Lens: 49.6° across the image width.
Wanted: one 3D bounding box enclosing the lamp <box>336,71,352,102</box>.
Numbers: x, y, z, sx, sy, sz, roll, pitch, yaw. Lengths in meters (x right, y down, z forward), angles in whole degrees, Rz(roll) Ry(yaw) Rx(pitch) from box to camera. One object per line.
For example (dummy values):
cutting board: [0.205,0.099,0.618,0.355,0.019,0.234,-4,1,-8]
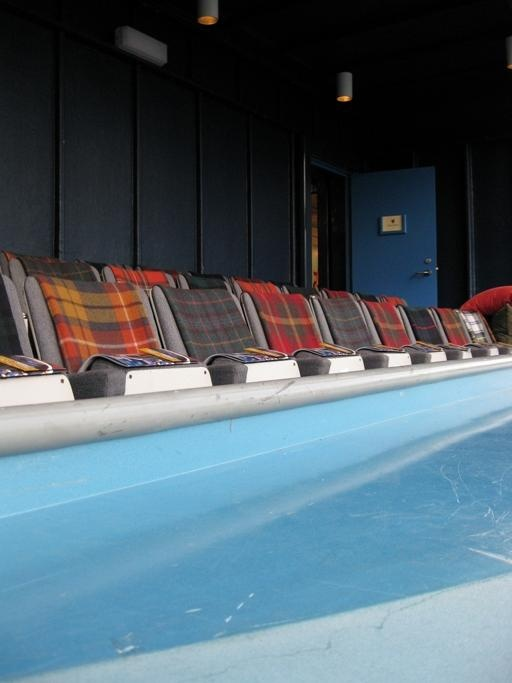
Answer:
lamp: [0.907,-2.597,5.646,0.153,0.249,0.118,-7,5,6]
